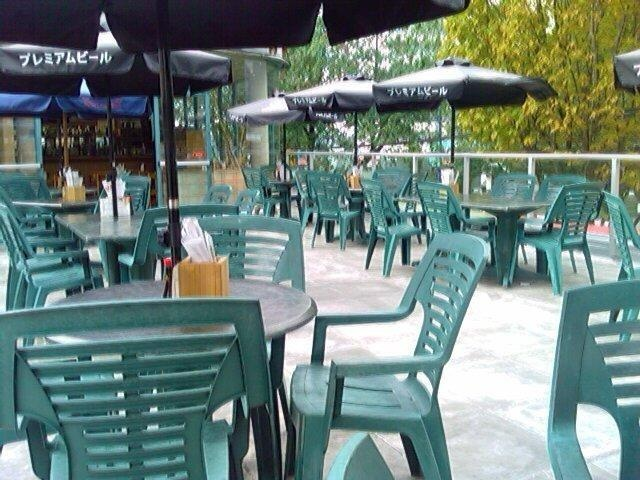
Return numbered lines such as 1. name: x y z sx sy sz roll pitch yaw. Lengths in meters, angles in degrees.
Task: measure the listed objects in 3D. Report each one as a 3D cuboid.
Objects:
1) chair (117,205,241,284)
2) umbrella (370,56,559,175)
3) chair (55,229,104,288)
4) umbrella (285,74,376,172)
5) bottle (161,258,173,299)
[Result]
1. chair: -1.022 -0.043 4.217 0.667 0.858 0.586 -5 12 -35
2. umbrella: 1.617 -1.738 6.856 1.538 1.102 1.575 -3 18 2
3. chair: -1.895 0.139 4.677 0.136 0.278 0.624 -18 42 -21
4. umbrella: 0.152 -1.648 9.184 1.395 1.343 1.307 -3 19 -4
5. bottle: -0.576 0.136 2.271 0.036 0.158 0.135 -4 11 -15
